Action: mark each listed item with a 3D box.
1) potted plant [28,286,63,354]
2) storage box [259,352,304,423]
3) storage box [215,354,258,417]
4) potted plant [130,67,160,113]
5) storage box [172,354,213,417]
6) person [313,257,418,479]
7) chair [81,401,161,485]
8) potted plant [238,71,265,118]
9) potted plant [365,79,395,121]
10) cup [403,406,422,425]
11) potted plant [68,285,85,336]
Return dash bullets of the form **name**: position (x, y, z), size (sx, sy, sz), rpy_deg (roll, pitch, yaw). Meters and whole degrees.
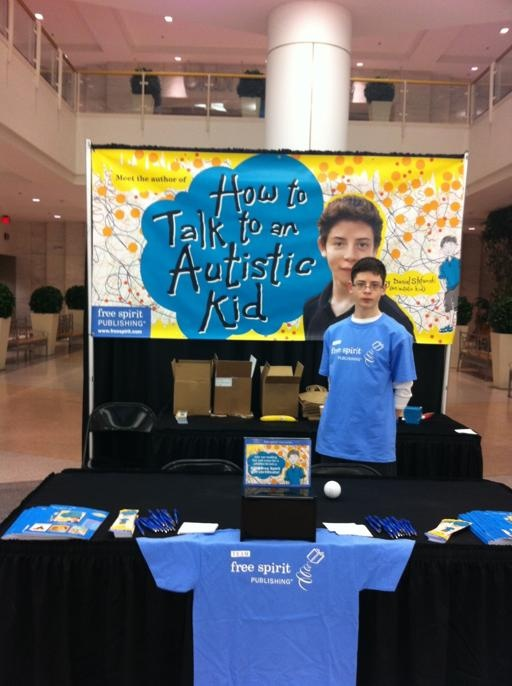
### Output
- **potted plant**: position (-4.491, -0.504, 11.826), size (0.617, 1.413, 0.868), rpy_deg (-1, 5, -22)
- **storage box**: position (0.143, 0.287, 3.470), size (0.310, 0.422, 0.354), rpy_deg (2, 1, -1)
- **storage box**: position (-0.143, 0.277, 3.695), size (0.317, 0.434, 0.361), rpy_deg (2, 1, -3)
- **potted plant**: position (-1.823, -4.228, 9.211), size (0.453, 0.592, 0.160), rpy_deg (5, 45, 7)
- **storage box**: position (-0.402, 0.282, 3.477), size (0.356, 0.412, 0.229), rpy_deg (2, 8, 1)
- **person**: position (0.467, 0.098, 2.353), size (0.403, 0.914, 0.241), rpy_deg (3, 5, 18)
- **chair**: position (-0.773, 0.696, 3.056), size (0.424, 0.490, 0.710), rpy_deg (4, -35, -14)
- **potted plant**: position (-0.068, -4.041, 9.056), size (0.541, 0.630, 0.555), rpy_deg (-2, 20, -13)
- **potted plant**: position (1.964, -3.874, 8.895), size (0.545, 0.474, 0.682), rpy_deg (-1, -2, 4)
- **cup**: position (0.955, 0.438, 3.424), size (0.133, 0.126, 0.099), rpy_deg (5, 10, 21)
- **potted plant**: position (-4.832, -0.846, 14.653), size (0.452, 1.341, 0.866), rpy_deg (0, 5, -20)
